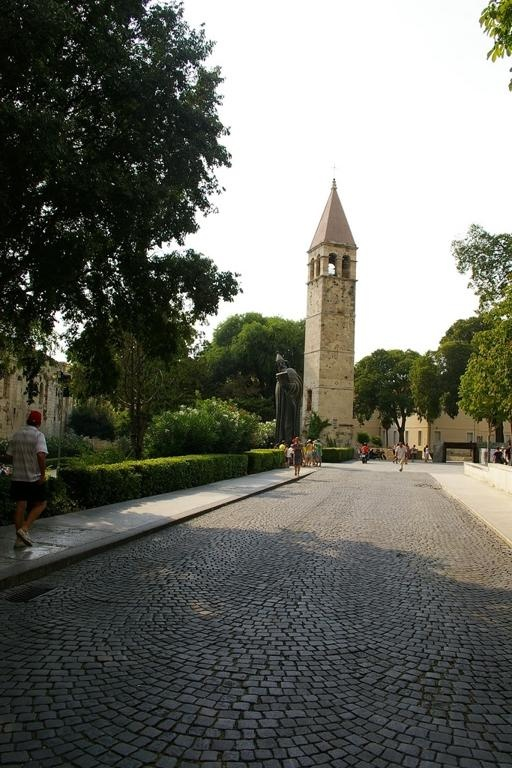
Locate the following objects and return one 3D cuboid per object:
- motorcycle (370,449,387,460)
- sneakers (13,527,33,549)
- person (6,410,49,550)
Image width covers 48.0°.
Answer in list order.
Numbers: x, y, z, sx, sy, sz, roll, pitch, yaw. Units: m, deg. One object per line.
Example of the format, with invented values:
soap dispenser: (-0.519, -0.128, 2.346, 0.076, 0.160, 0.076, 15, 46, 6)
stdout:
motorcycle: (11.863, 6.947, 56.312, 1.807, 1.145, 0.960, 2, -4, 19)
sneakers: (-2.791, 1.855, 6.899, 0.186, 0.236, 0.148, 2, -4, -23)
person: (-2.847, 1.167, 7.192, 0.434, 1.645, 0.625, 2, -4, -34)
